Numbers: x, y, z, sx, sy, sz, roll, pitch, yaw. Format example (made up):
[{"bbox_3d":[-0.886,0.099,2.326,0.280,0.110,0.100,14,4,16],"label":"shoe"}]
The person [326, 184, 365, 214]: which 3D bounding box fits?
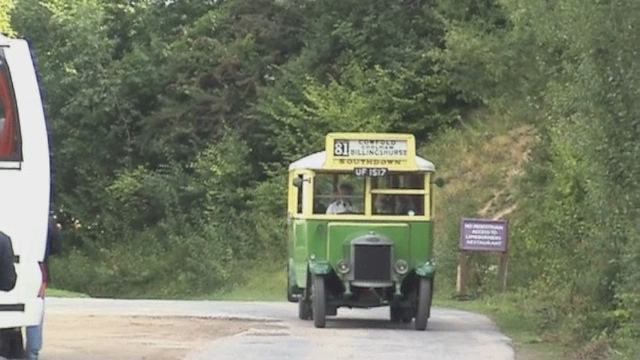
[{"bbox_3d":[1.113,0.927,55.070,1.394,1.266,0.725,1,-21,16],"label":"person"}]
